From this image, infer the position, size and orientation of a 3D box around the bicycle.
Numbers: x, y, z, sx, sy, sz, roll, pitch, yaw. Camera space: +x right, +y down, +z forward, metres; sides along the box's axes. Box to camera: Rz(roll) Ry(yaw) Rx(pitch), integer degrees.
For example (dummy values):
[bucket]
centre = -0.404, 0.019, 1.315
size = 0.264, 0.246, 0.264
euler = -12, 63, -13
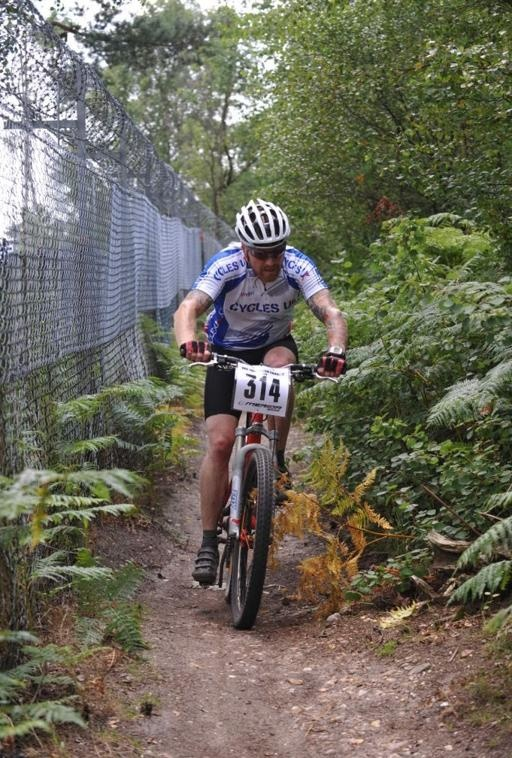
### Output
[bicycle]
centre = 0.013, 0.603, 4.129
size = 0.579, 1.383, 0.896
euler = -3, 0, 1

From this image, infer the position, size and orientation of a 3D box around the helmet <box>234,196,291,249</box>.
[helmet]
centre = 0.025, -0.886, 4.167
size = 0.291, 0.264, 0.312
euler = -3, 0, -1

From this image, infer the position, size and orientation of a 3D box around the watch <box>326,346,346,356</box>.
[watch]
centre = 0.430, -0.150, 3.933
size = 0.057, 0.042, 0.073
euler = 8, -5, 1
